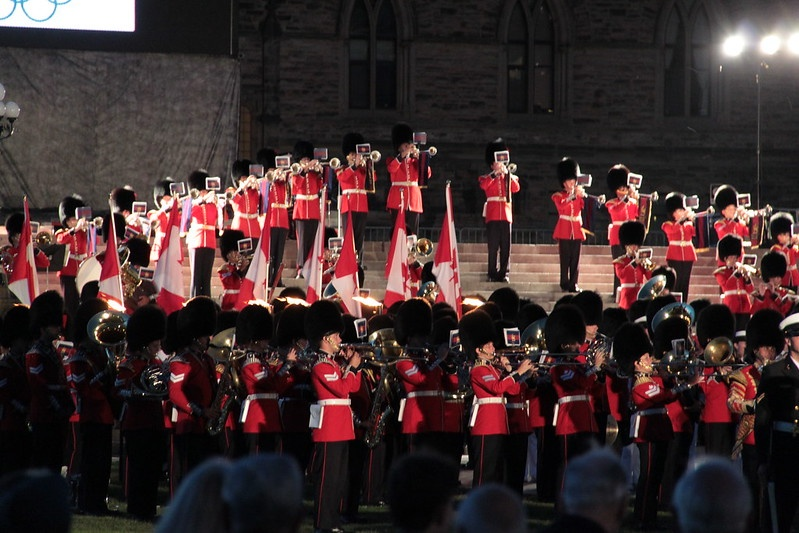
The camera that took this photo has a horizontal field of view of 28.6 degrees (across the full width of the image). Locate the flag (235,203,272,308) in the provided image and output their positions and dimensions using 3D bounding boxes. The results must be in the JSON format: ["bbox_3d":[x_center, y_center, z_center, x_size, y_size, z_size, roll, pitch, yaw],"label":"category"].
[{"bbox_3d":[-2.329,-0.214,25.496,0.532,2.172,0.275,-5,43,-22],"label":"flag"}]

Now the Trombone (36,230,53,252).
[{"bbox_3d":[-6.974,-0.478,30.782,0.393,0.369,0.290,-3,-15,-9],"label":"Trombone"}]

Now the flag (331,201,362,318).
[{"bbox_3d":[-0.869,0.002,25.558,0.529,2.134,0.216,-3,21,-10],"label":"flag"}]

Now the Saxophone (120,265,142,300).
[{"bbox_3d":[-4.782,0.294,27.654,0.442,0.359,0.354,12,23,-25],"label":"Saxophone"}]

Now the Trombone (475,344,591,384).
[{"bbox_3d":[2.259,1.453,24.130,1.155,0.553,0.657,1,-18,6],"label":"Trombone"}]

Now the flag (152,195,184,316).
[{"bbox_3d":[-3.882,-0.179,26.743,0.546,2.140,0.968,4,-11,-9],"label":"flag"}]

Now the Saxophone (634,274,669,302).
[{"bbox_3d":[4.347,0.378,27.079,0.122,0.459,0.457,41,-15,27],"label":"Saxophone"}]

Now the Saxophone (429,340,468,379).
[{"bbox_3d":[0.770,1.438,24.153,0.504,0.592,0.320,-6,12,4],"label":"Saxophone"}]

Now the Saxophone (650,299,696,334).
[{"bbox_3d":[4.329,0.789,24.731,0.535,0.180,0.520,-22,27,-39],"label":"Saxophone"}]

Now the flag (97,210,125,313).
[{"bbox_3d":[-4.914,-0.039,26.823,0.437,0.426,1.985,1,-31,-15],"label":"flag"}]

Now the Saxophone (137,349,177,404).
[{"bbox_3d":[-3.767,1.543,23.691,0.635,0.518,0.436,-18,34,-41],"label":"Saxophone"}]

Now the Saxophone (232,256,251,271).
[{"bbox_3d":[-2.881,-0.061,28.745,0.265,0.193,0.339,-2,-12,11],"label":"Saxophone"}]

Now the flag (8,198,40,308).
[{"bbox_3d":[-6.312,-0.250,26.586,0.478,1.940,1.029,5,-11,-14],"label":"flag"}]
